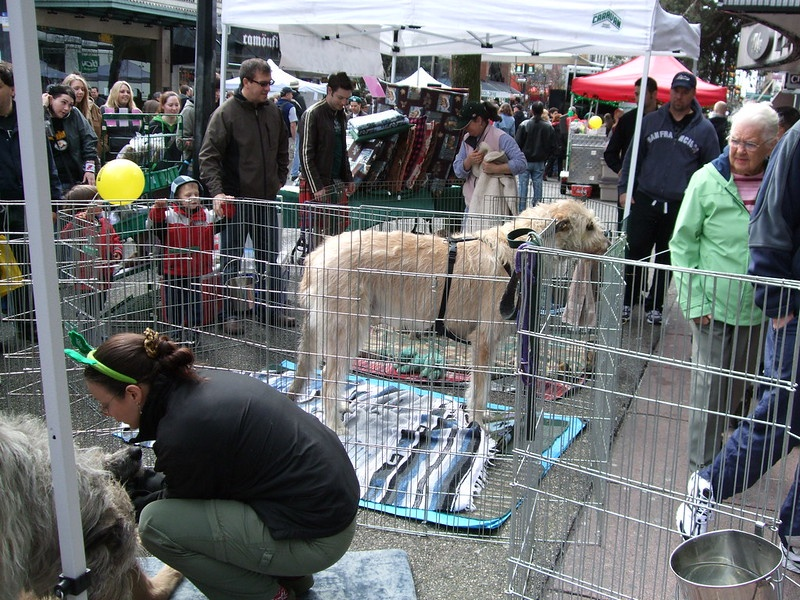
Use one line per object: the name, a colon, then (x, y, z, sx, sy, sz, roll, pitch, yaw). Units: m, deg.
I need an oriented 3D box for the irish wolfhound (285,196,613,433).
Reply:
irish wolfhound: (0.293, 0.098, 5.520, 2.368, 1.979, 0.644, 2, 24, 5)

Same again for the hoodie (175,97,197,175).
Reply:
hoodie: (-3.173, -2.336, 10.341, 0.285, 1.237, 0.378, -5, -8, 29)

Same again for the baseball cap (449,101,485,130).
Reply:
baseball cap: (0.782, -2.065, 8.106, 0.429, 0.248, 0.285, -22, 39, -7)
